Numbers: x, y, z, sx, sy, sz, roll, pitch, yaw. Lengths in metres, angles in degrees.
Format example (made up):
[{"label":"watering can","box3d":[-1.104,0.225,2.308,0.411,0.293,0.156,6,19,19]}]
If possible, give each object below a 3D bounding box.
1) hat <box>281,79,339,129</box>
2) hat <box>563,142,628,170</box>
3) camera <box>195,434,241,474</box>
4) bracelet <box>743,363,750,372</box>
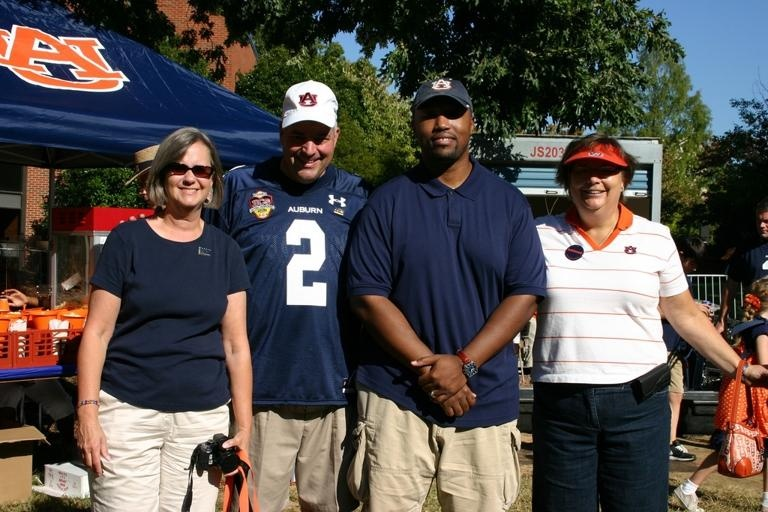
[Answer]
[{"label":"hat","box3d":[-0.558,-1.148,6.121,0.421,0.286,0.226,2,0,-5]},{"label":"hat","box3d":[1.613,-0.713,6.125,0.295,0.199,0.479,-2,-5,33]},{"label":"camera","box3d":[-1.176,1.388,5.763,0.307,0.174,0.276,4,5,-5]},{"label":"bracelet","box3d":[2.758,0.852,6.210,0.019,0.074,0.080,0,-2,45]}]
